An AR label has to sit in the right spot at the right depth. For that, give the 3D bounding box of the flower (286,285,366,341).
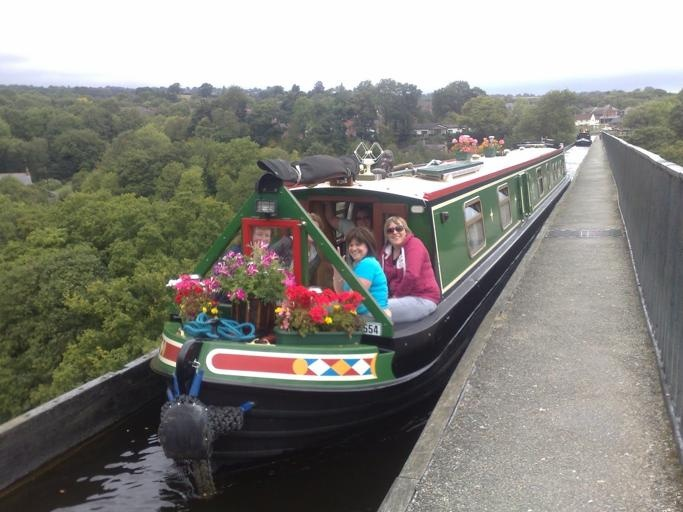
[{"bbox_3d":[-0.201,0.524,5.366,0.536,0.308,0.539,-1,7,-17],"label":"flower"}]

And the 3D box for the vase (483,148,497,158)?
[{"bbox_3d":[3.685,-2.579,13.959,0.214,0.164,0.211,6,11,37],"label":"vase"}]

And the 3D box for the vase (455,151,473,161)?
[{"bbox_3d":[2.373,-1.939,10.862,0.322,0.236,0.462,0,0,15],"label":"vase"}]

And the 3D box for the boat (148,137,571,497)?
[{"bbox_3d":[0.959,-0.274,8.732,2.272,3.181,9.435,-1,12,23],"label":"boat"}]

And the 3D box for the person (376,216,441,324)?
[{"bbox_3d":[0.634,0.109,6.482,0.925,1.198,0.677,-1,-4,-22],"label":"person"}]

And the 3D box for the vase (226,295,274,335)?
[{"bbox_3d":[-0.899,0.596,5.543,0.352,0.364,0.372,0,2,17],"label":"vase"}]

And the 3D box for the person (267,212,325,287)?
[{"bbox_3d":[-0.508,-0.084,5.870,0.317,0.257,0.751,14,-10,21],"label":"person"}]

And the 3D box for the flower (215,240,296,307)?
[{"bbox_3d":[-0.878,0.081,5.682,0.615,0.482,0.658,4,13,11],"label":"flower"}]
